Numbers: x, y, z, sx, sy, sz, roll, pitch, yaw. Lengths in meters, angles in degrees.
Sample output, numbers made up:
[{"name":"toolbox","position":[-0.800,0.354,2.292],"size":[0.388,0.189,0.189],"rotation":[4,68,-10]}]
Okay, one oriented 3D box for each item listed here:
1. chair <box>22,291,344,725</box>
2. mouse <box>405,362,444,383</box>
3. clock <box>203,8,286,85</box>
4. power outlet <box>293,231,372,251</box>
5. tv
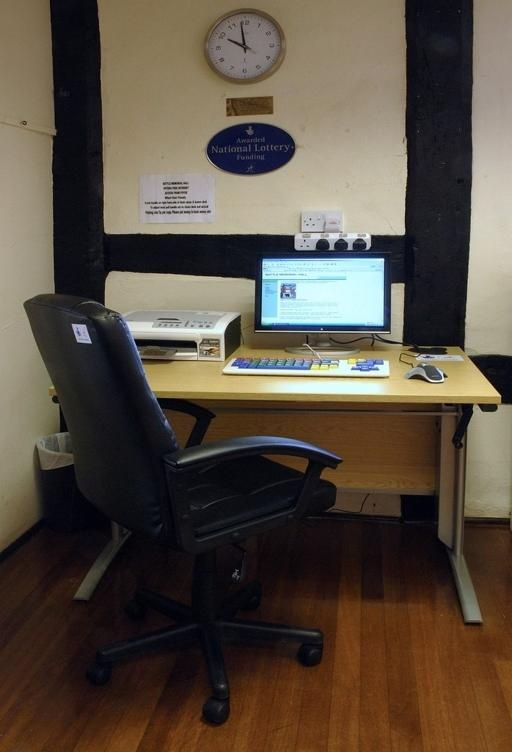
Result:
[{"name":"chair","position":[-0.158,0.280,1.426],"size":[0.650,0.920,0.664],"rotation":[8,12,37]},{"name":"mouse","position":[0.490,-0.005,1.680],"size":[0.113,0.042,0.101],"rotation":[3,15,14]},{"name":"clock","position":[-0.033,-1.227,2.157],"size":[0.256,0.260,0.032],"rotation":[4,15,11]},{"name":"power outlet","position":[0.287,-0.498,2.177],"size":[0.290,0.065,0.134],"rotation":[0,14,3]},{"name":"tv","position":[0.244,-0.277,2.178],"size":[0.497,0.366,0.145],"rotation":[1,19,7]}]
